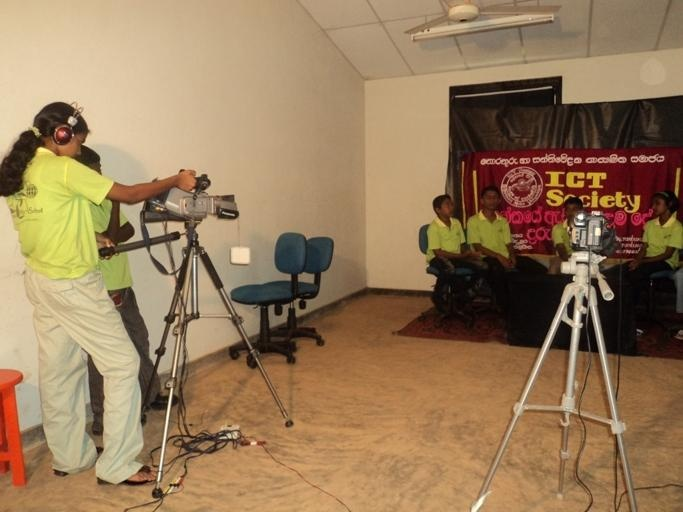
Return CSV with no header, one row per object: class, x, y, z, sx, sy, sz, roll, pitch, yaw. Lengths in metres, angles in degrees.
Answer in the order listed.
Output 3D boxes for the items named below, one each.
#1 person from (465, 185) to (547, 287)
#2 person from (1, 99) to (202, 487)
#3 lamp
person,1.777,-0.269,6.909,0.785,1.361,1.119,-10,11,-31
person,-1.563,0.250,3.408,0.864,2.341,0.314,-2,5,4
lamp,1.523,-2.503,6.077,0.971,0.128,0.467,-2,25,18
